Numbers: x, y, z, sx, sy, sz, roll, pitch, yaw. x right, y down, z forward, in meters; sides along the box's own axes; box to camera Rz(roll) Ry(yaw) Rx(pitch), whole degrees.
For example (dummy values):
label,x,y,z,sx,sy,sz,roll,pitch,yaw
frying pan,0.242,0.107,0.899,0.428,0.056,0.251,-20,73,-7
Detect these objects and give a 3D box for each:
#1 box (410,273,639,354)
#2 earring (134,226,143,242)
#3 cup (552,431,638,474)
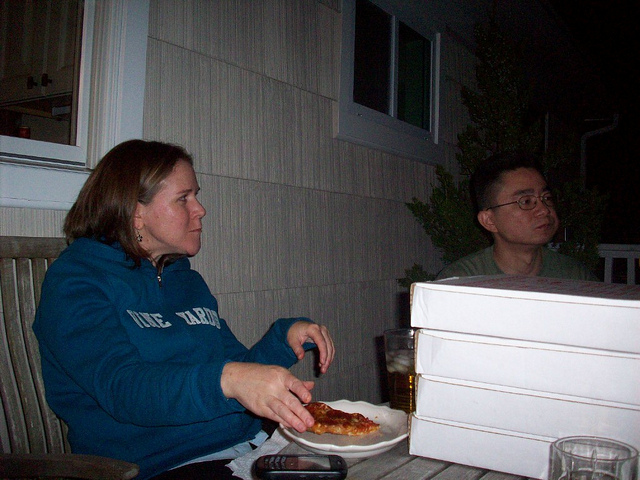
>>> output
label,x,y,z,sx,sy,sz,roll,pitch,yaw
box,0.456,0.104,1.135,0.463,0.133,0.383,1,4,24
earring,-0.563,-0.023,1.565,0.035,0.062,0.008,11,18,3
cup,0.510,0.405,0.929,0.145,0.067,0.052,-1,-4,-1
